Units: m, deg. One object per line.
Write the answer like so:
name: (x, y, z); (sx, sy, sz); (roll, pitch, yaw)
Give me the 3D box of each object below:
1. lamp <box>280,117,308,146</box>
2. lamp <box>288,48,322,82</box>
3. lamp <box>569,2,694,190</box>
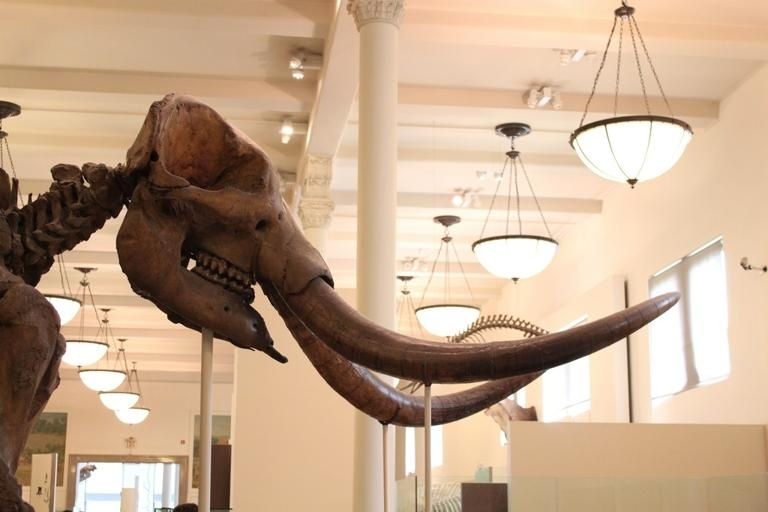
lamp: (-1.422, -2.006, 14.139); (0.418, 0.401, 0.158); (4, 17, -6)
lamp: (-1.096, -2.600, 12.548); (0.456, 0.427, 0.780); (1, -19, -6)
lamp: (3.348, -2.292, 12.097); (1.512, 2.458, 1.533); (9, -22, -18)
